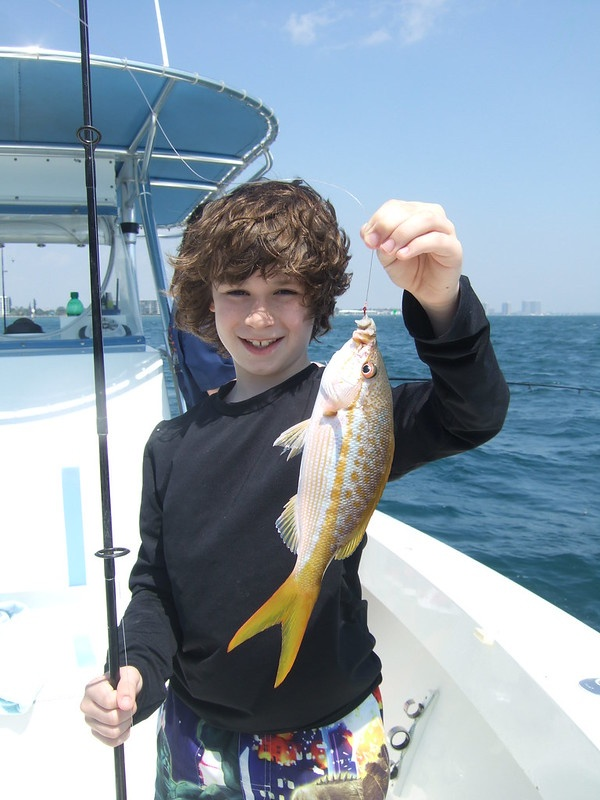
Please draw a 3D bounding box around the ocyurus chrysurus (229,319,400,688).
[{"bbox_3d":[0.018,0.233,1.488,0.481,0.819,0.262,-12,12,-40],"label":"ocyurus chrysurus"}]
